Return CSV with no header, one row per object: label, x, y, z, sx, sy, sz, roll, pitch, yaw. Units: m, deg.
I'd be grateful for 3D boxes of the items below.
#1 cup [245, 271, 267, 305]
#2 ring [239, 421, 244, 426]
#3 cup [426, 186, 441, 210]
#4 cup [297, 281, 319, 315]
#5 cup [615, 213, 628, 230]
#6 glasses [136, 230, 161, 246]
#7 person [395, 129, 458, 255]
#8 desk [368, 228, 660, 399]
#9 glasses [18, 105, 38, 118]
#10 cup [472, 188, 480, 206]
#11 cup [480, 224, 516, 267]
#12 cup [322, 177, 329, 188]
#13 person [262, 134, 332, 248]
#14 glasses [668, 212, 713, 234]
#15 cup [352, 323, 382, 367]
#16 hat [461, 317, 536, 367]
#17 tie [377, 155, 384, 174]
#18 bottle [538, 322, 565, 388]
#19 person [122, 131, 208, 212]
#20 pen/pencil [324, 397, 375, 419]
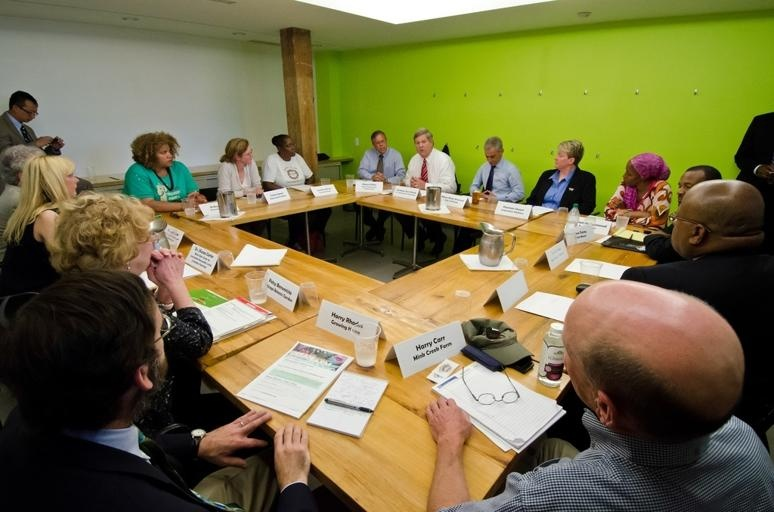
cup,-0.720,0.170,2.663,0.154,0.169,0.150,-1,4,0
ring,-0.597,0.689,1.987,0.015,0.004,0.014,-1,18,0
cup,0.416,-0.524,4.371,0.119,0.210,0.069,-6,20,-8
cup,-0.419,0.217,2.613,0.117,0.148,0.124,0,10,0
cup,1.805,-0.281,3.764,0.107,0.126,0.110,1,18,0
glasses,-1.232,-0.095,2.485,0.070,0.075,0.069,-8,29,-39
person,0.482,-0.752,5.798,0.738,1.502,0.738,-7,23,-20
desk,0.612,0.265,2.293,0.540,0.213,0.861,15,27,36
glasses,-3.510,-1.410,4.733,0.085,0.111,0.137,1,21,10
cup,0.849,-0.567,4.572,0.062,0.117,0.223,2,21,16
cup,0.698,-0.069,3.052,0.232,0.245,0.144,7,22,19
cup,-0.662,-0.803,5.230,0.085,0.071,0.092,2,15,-1
person,-1.023,-0.714,5.660,0.735,1.320,0.634,12,21,36
glasses,1.386,-0.160,2.214,0.147,0.044,0.148,-1,21,-32
cup,-0.104,0.423,2.237,0.196,0.232,0.201,-1,-8,0
hat,0.490,0.356,2.208,0.169,0.082,0.265,-13,21,-28
tie,-0.096,-1.181,6.215,0.106,0.218,0.193,-1,20,7
bottle,0.713,0.423,2.078,0.142,0.254,0.147,2,15,0
person,-2.040,-0.740,4.444,0.656,0.833,0.694,-5,19,-24
pen/pencil,-0.157,0.622,1.972,0.178,0.027,0.021,11,29,11
